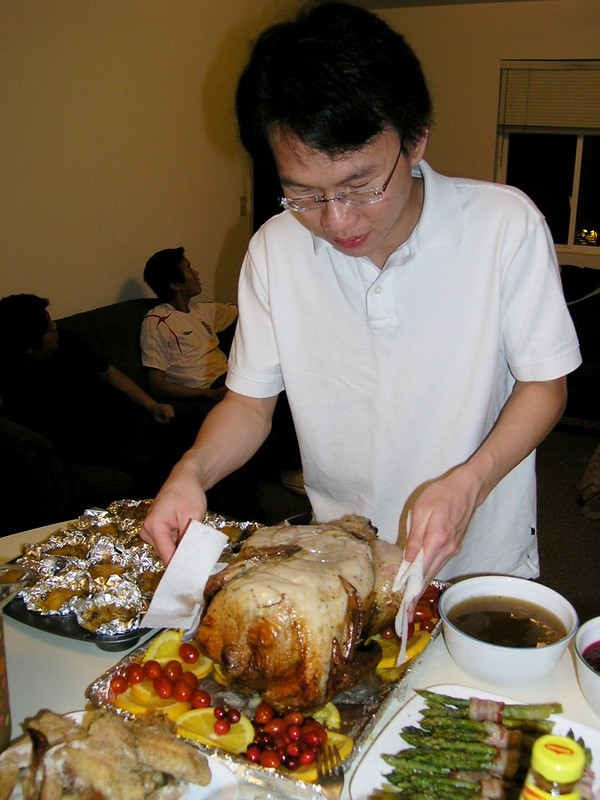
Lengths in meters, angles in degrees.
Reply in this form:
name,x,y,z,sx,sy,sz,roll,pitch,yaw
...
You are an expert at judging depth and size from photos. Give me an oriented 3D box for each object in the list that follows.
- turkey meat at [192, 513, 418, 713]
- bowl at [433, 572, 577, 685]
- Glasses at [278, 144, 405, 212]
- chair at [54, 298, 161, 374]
name,x,y,z,sx,sy,sz,roll,pitch,yaw
turkey meat,0.034,0.296,1.026,0.213,0.107,0.284,23,34,25
bowl,0.318,0.359,1.027,0.197,0.109,0.196,0,18,0
Glasses,0.052,-0.335,1.023,0.199,0.101,0.129,5,19,13
chair,-1.085,-0.363,3.731,0.755,0.271,0.249,-4,18,27
